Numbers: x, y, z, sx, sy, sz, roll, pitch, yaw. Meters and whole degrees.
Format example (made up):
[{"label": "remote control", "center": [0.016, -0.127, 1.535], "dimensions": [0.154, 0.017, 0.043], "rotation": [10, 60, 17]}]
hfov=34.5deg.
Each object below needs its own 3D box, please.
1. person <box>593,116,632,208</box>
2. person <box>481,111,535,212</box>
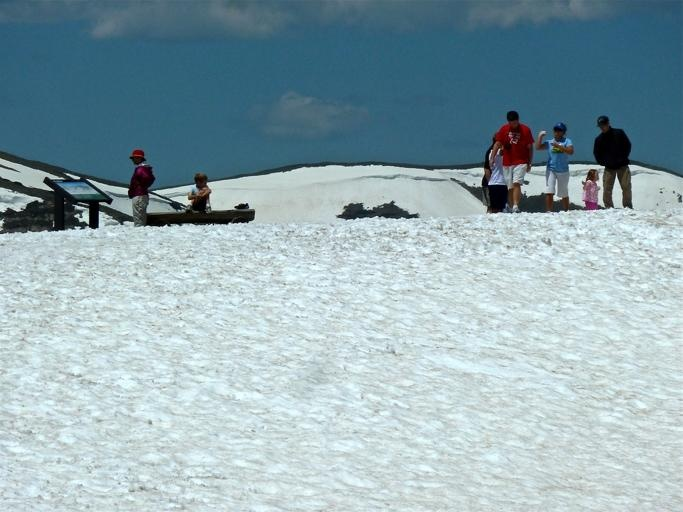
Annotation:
[{"label": "person", "center": [3.994, -1.357, 16.131], "dimensions": [0.549, 1.317, 0.811], "rotation": [2, 3, 13]}, {"label": "person", "center": [2.423, -1.319, 15.708], "dimensions": [0.589, 1.400, 0.850], "rotation": [2, 3, 7]}]
